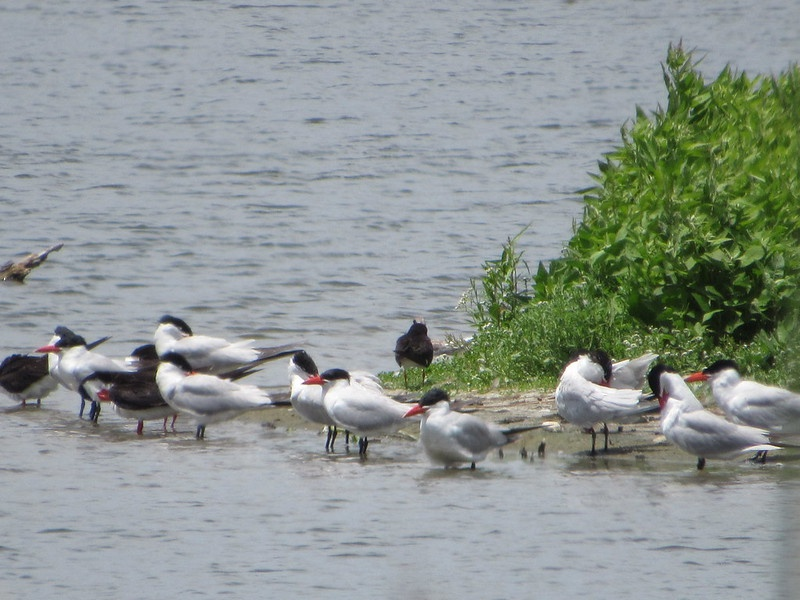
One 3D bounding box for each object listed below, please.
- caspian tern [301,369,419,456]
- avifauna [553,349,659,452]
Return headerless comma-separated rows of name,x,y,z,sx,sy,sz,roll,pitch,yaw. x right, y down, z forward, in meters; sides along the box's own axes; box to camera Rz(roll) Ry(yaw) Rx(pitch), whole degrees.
caspian tern,-0.497,1.744,25.979,2.106,1.129,0.857,6,6,-4
avifauna,3.068,1.527,25.228,2.148,1.479,1.075,1,-6,42
